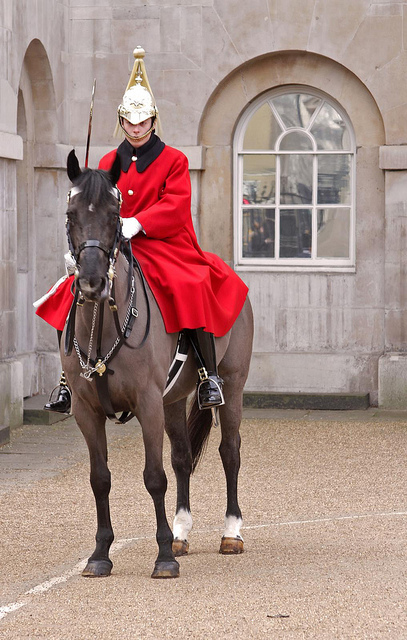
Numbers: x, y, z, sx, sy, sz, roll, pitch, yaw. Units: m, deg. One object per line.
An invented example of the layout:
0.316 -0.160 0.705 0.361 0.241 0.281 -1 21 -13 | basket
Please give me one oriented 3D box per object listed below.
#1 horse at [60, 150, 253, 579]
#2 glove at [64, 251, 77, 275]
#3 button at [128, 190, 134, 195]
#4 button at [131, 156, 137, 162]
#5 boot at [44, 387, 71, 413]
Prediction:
-0.278 0.313 7.518 0.596 2.149 2.362 -1 -2 21 | horse
-0.642 -0.272 6.787 0.078 0.108 0.076 0 -4 -8 | glove
-0.391 -0.679 7.551 0.023 0.028 0.006 1 4 -7 | button
-0.373 -0.859 7.561 0.006 0.026 0.024 6 18 43 | button
-0.821 0.439 7.740 0.188 0.158 0.080 11 -10 -24 | boot
